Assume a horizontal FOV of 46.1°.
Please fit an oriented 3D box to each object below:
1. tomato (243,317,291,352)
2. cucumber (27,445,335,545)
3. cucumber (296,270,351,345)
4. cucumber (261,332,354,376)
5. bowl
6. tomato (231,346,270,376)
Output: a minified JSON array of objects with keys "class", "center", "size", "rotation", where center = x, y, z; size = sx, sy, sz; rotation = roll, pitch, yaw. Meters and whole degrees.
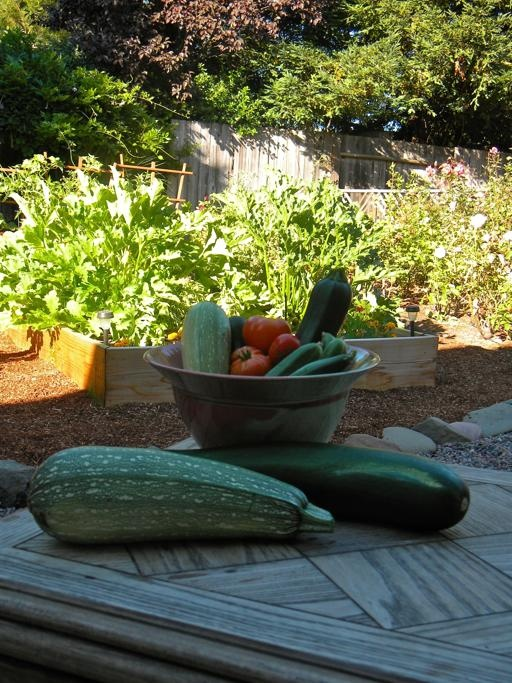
[{"class":"tomato","center":[0.019,-0.011,1.123],"size":[0.078,0.063,0.073],"rotation":[1,0,19]},{"class":"cucumber","center":[-0.094,0.197,0.769],"size":[0.373,0.090,0.118],"rotation":[2,12,-7]},{"class":"cucumber","center":[0.130,-0.066,1.169],"size":[0.094,0.138,0.104],"rotation":[1,6,-30]},{"class":"cucumber","center":[0.084,0.017,0.960],"size":[0.111,0.065,0.110],"rotation":[2,2,-1]},{"class":"bowl","center":[0.019,0.094,0.994],"size":[0.363,0.135,0.287],"rotation":[0,10,-3]},{"class":"tomato","center":[-0.007,0.030,1.020],"size":[0.055,0.047,0.049],"rotation":[-12,24,0]}]
